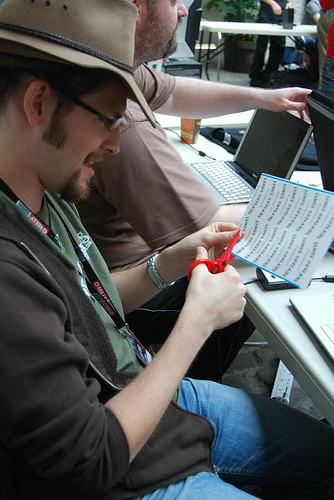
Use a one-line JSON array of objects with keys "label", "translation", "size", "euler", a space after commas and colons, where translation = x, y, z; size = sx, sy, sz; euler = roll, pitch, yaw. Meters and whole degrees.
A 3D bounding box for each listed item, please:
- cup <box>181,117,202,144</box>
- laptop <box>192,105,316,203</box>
[{"label": "cup", "translation": [0.111, -0.563, 1.968], "size": [0.065, 0.118, 0.068], "euler": [1, 39, -1]}, {"label": "laptop", "translation": [0.275, -0.374, 1.554], "size": [0.341, 0.245, 0.418], "euler": [-3, 30, -9]}]
